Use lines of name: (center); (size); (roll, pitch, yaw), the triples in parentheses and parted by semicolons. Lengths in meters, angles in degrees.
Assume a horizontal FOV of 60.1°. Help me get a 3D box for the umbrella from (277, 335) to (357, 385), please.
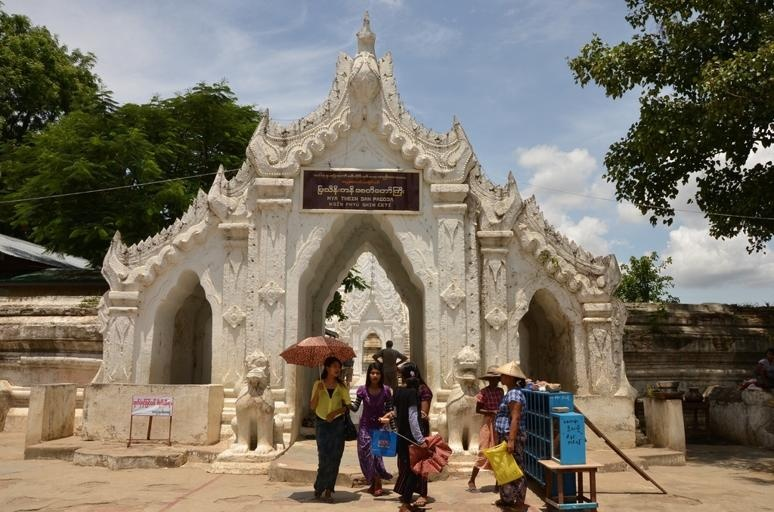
umbrella: (-1.357, 1.833, 12.615); (0.992, 0.317, 0.979); (9, -35, -10)

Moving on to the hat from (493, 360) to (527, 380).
hat: (2.237, 1.929, 11.993); (0.529, 0.237, 0.530); (8, -21, 8)

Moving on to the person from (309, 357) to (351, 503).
person: (-0.991, 3.011, 11.875); (0.693, 2.452, 0.637); (1, -19, -3)

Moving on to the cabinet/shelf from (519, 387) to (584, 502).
cabinet/shelf: (2.874, 3.315, 11.705); (0.708, 2.177, 1.932); (1, -4, -7)

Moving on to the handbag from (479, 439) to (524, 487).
handbag: (1.955, 3.457, 11.228); (0.655, 0.673, 0.293); (0, -18, -1)

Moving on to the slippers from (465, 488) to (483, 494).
slippers: (1.567, 4.255, 12.234); (0.350, 0.136, 0.107); (-2, -2, 2)
